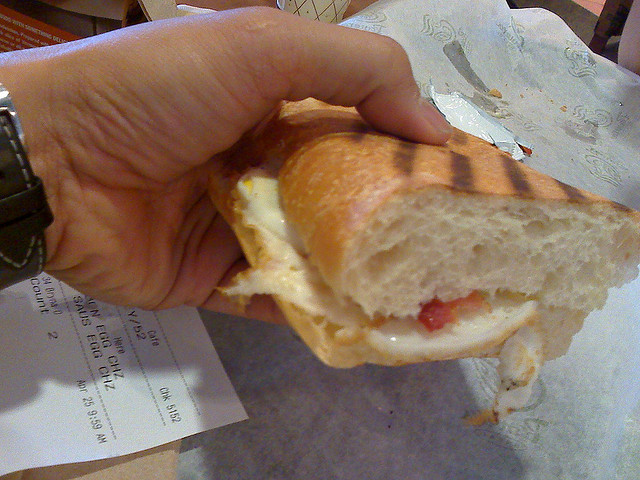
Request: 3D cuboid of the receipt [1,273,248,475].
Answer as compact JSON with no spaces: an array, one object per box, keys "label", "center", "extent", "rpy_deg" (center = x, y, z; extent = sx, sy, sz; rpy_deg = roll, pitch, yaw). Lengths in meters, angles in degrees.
[{"label":"receipt","center":[-0.431,0.231,1.127],"extent":[0.426,0.103,0.436],"rpy_deg":[-21,61,-10]}]
